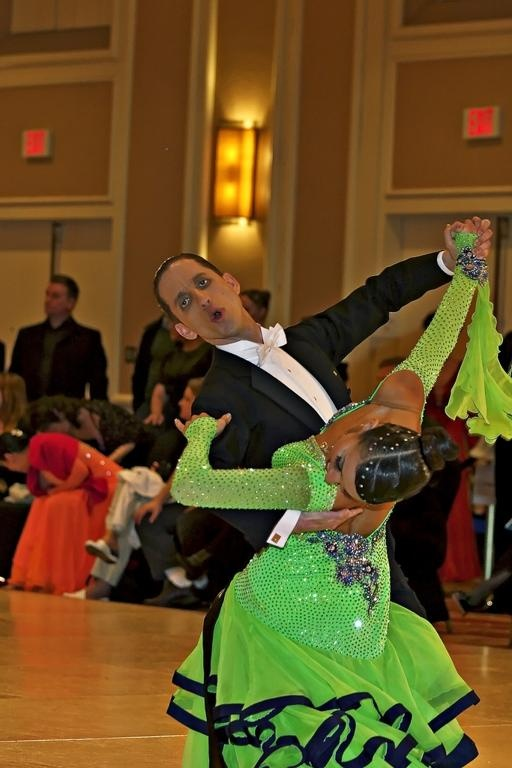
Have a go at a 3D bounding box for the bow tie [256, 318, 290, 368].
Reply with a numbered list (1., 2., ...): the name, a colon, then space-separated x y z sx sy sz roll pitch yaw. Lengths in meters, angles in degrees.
1. bow tie: 0.020 -0.083 1.290 0.029 0.076 0.078 1 23 41

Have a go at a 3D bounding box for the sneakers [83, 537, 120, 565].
1. sneakers: -0.768 0.838 3.485 0.185 0.080 0.089 33 -39 -21

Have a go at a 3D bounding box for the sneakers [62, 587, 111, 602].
1. sneakers: -0.870 1.095 3.555 0.237 0.062 0.081 3 -10 5

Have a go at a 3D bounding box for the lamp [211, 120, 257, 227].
1. lamp: -0.131 -1.288 4.193 0.269 0.604 0.113 4 -10 -5
